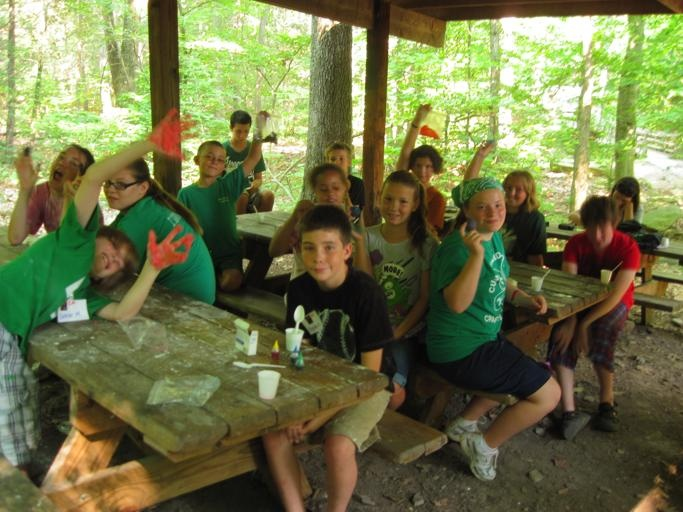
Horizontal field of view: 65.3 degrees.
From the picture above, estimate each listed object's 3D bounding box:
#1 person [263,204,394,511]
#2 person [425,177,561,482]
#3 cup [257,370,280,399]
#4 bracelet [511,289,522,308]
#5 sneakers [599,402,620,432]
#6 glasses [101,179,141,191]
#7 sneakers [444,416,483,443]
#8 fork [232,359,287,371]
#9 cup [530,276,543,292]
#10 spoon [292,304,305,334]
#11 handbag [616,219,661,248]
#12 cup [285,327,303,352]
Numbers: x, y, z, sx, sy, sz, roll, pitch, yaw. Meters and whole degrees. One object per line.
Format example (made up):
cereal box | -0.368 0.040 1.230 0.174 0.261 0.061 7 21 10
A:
person | -0.047 0.695 3.119 0.689 1.880 0.995 5 16 -1
person | 1.014 0.528 3.584 0.970 2.009 0.711 13 18 23
cup | -0.328 0.581 2.427 0.116 0.091 0.114 5 6 -1
bracelet | 1.274 0.309 3.893 0.073 0.097 0.097 4 16 9
sneakers | 2.155 1.310 4.290 0.112 0.124 0.302 -3 5 18
glasses | -1.523 -0.493 3.656 0.147 0.044 0.150 9 16 25
sneakers | 0.835 1.207 3.728 0.295 0.134 0.131 -10 61 -27
fork | -0.419 0.551 2.674 0.272 0.014 0.079 6 15 0
cup | 1.519 0.226 4.116 0.109 0.116 0.113 -1 3 0
spoon | -0.239 0.332 2.912 0.051 0.196 0.027 5 -9 7
handbag | 3.421 -0.259 6.204 0.378 0.174 0.477 -12 23 -29
cup | -0.243 0.441 2.814 0.112 0.093 0.119 4 3 0
